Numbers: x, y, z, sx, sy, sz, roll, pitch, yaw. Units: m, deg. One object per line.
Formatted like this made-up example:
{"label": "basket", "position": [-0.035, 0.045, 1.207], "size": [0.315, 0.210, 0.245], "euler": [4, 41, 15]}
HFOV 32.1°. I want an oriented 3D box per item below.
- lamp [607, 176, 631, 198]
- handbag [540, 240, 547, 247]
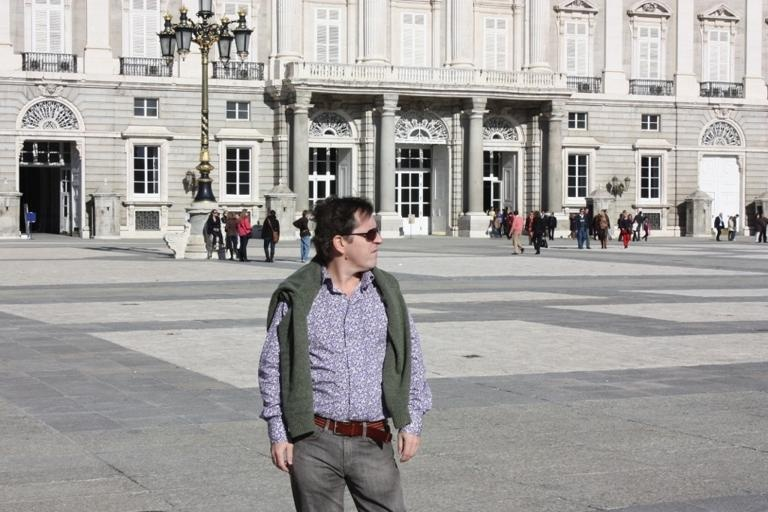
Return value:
{"label": "lamp", "position": [10.720, -3.230, 60.666], "size": [1.108, 1.320, 1.233], "euler": [1, 0, 4]}
{"label": "handbag", "position": [5.490, -0.458, 46.002], "size": [0.244, 0.246, 0.281], "euler": [-1, 3, -7]}
